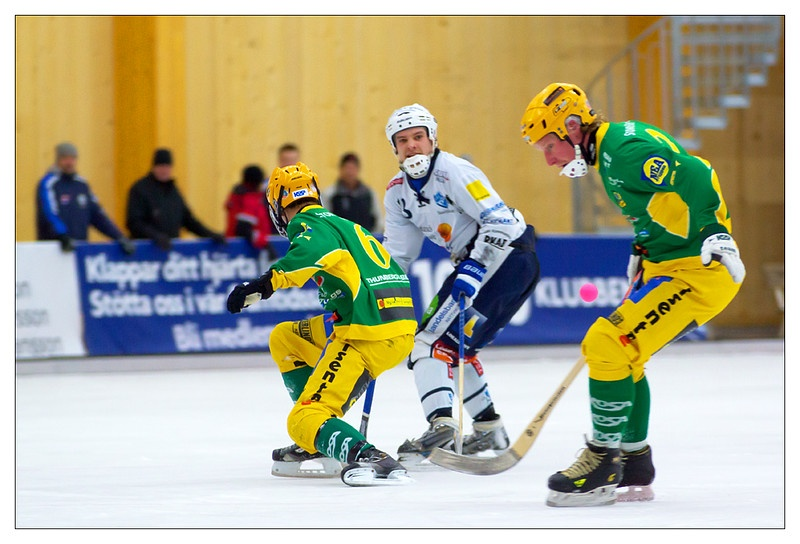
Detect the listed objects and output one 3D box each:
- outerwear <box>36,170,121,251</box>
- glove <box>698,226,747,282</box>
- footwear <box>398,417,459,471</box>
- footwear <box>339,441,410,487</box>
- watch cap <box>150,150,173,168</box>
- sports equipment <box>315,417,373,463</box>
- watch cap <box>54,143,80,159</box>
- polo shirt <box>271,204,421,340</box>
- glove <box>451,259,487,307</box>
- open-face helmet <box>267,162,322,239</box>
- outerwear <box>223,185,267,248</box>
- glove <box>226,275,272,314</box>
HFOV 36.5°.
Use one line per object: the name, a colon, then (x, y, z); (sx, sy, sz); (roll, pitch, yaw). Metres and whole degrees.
outerwear: (-3.843, -0.746, 14.227); (0.796, 0.939, 1.379); (6, 6, 29)
glove: (2.641, -0.118, 10.163); (0.352, 0.449, 0.176); (-35, 3, -29)
footwear: (0.306, 1.545, 10.967); (0.809, 0.391, 0.390); (-11, -12, 37)
footwear: (-0.206, 1.659, 10.448); (0.829, 0.382, 0.283); (13, -17, -43)
watch cap: (-2.715, -1.306, 13.817); (0.221, 0.354, 0.127); (1, 0, -15)
sports equipment: (-0.503, 1.429, 10.273); (0.319, 0.230, 0.418); (29, 1, -40)
watch cap: (-3.907, -1.448, 14.181); (0.227, 0.170, 0.224); (3, -2, -32)
polo shirt: (-0.514, 0.047, 10.785); (1.027, 1.219, 1.938); (-10, 0, 24)
glove: (0.603, 0.064, 11.026); (0.308, 0.214, 0.485); (18, 43, 14)
open-face helmet: (-0.984, -0.732, 10.854); (0.495, 0.638, 0.631); (-14, 46, -20)
outerwear: (-1.849, -0.658, 14.865); (0.572, 0.885, 0.925); (2, 2, -11)
glove: (-1.281, 0.166, 10.374); (0.371, 0.142, 0.294); (-29, -9, -1)
